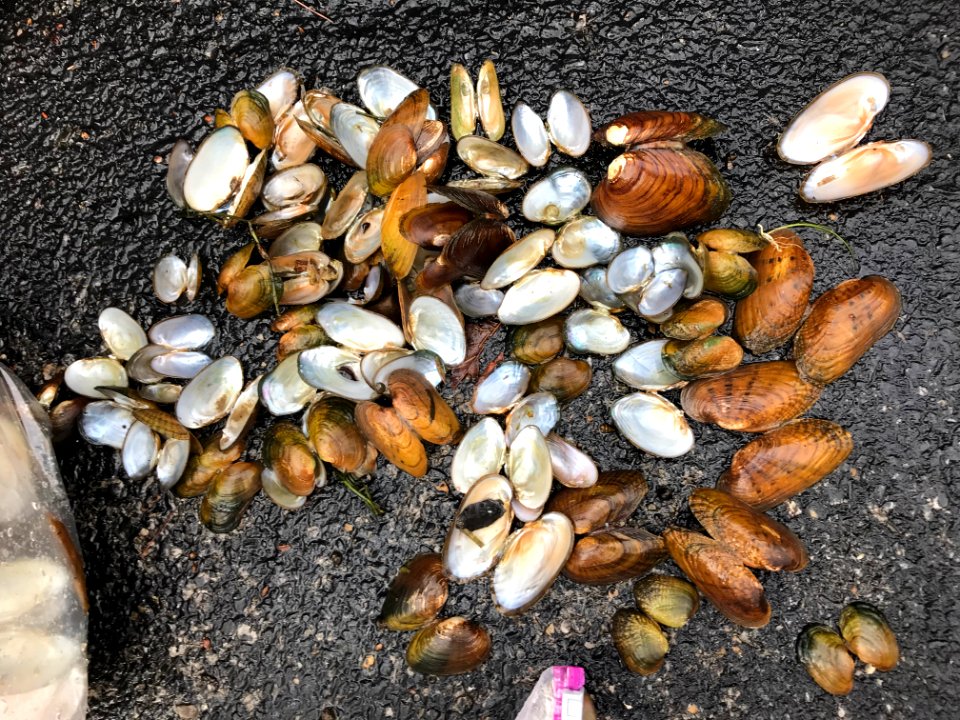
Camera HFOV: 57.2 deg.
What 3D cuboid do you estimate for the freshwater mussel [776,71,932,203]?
[{"bbox_3d":[0.933,-0.551,2.245,0.311,0.079,0.285,-30,82,0],"label":"freshwater mussel"}]

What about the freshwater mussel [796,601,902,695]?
[{"bbox_3d":[0.935,0.728,2.239,0.244,0.036,0.185,-29,83,0],"label":"freshwater mussel"}]
